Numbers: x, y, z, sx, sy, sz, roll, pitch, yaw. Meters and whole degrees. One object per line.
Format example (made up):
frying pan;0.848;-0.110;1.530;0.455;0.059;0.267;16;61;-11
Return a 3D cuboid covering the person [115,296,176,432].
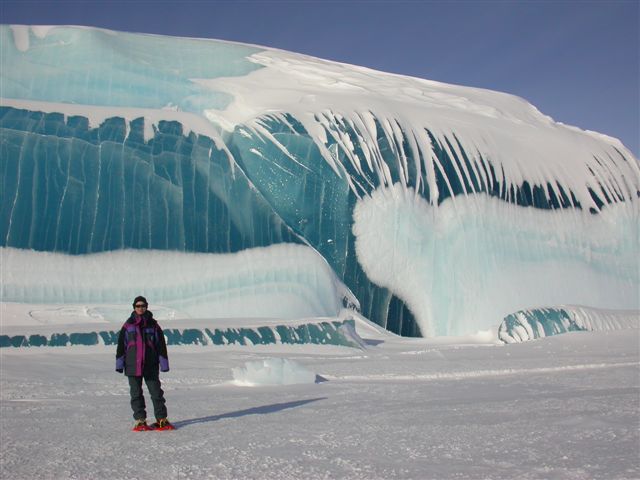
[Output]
person;-2.325;1.625;11.688;0.670;1.723;0.842;-5;9;-38

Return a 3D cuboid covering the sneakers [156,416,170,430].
sneakers;-2.049;2.415;11.558;0.205;0.095;0.107;-8;-10;38

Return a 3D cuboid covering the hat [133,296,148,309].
hat;-2.426;0.793;11.844;0.196;0.181;0.228;1;-18;-11

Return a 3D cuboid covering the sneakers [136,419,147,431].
sneakers;-2.357;2.428;11.527;0.211;0.114;0.153;-1;7;-11
